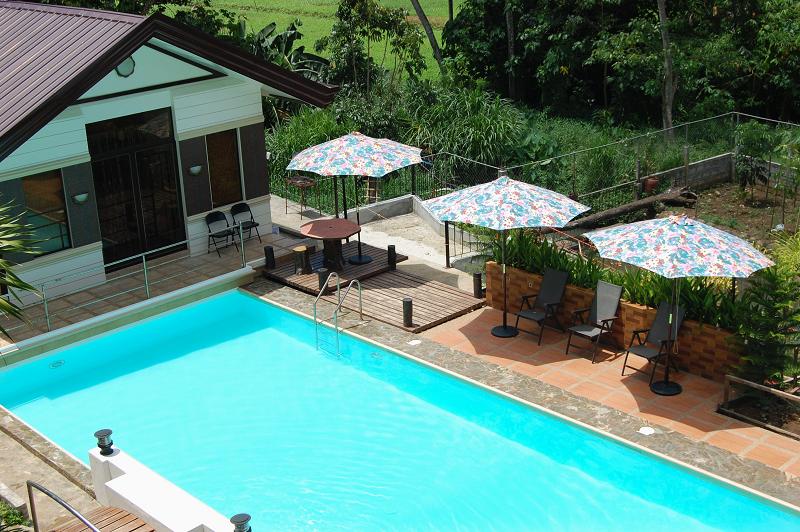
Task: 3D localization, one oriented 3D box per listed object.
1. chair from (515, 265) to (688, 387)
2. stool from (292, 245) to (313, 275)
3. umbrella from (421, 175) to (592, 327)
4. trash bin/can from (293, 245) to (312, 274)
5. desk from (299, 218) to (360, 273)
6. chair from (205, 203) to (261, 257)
[{"bbox_3d":[4.492,1.390,14.302,0.819,1.013,2.564,-18,21,-30],"label":"chair"},{"bbox_3d":[-2.698,-0.116,18.014,0.617,0.734,0.582,-12,24,-18],"label":"stool"},{"bbox_3d":[2.486,-0.110,16.055,4.460,3.362,4.064,-7,9,-27],"label":"umbrella"},{"bbox_3d":[-2.689,-0.121,17.967,0.585,0.696,0.559,-11,25,-17],"label":"trash bin/can"},{"bbox_3d":[-1.835,-0.417,18.006,1.677,0.984,1.617,-3,14,0],"label":"desk"},{"bbox_3d":[-4.869,-0.981,18.831,1.430,0.920,0.798,-22,41,-37],"label":"chair"}]
